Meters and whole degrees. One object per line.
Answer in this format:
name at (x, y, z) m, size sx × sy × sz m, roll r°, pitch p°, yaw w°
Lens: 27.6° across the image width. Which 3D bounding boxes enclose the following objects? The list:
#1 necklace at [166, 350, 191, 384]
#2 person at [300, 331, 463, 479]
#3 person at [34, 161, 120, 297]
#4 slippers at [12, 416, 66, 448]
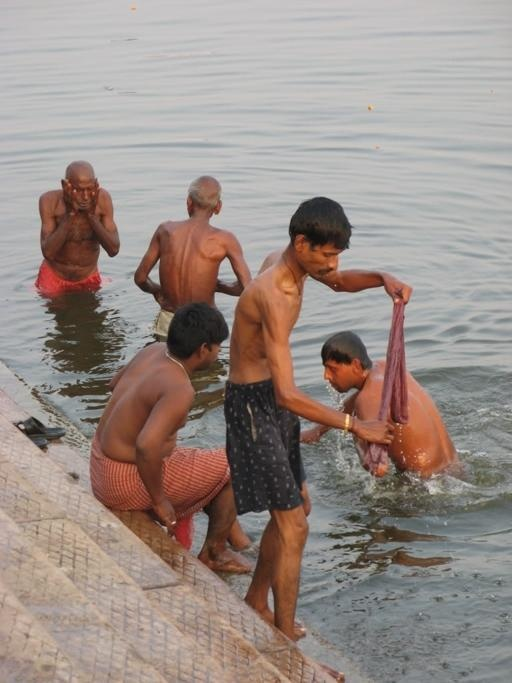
necklace at (-0.367, 0.106, 4.750) m, size 0.129 × 0.069 × 0.125 m, roll -39°, pitch 36°, yaw 11°
person at (0.754, 0.409, 6.207) m, size 0.635 × 0.870 × 0.450 m, roll 6°, pitch 58°, yaw 34°
person at (-1.637, -1.031, 9.441) m, size 0.758 × 1.377 × 0.585 m, roll -2°, pitch 29°, yaw -11°
slippers at (-1.206, 0.513, 5.693) m, size 0.210 × 0.059 × 0.156 m, roll 31°, pitch 25°, yaw 19°
